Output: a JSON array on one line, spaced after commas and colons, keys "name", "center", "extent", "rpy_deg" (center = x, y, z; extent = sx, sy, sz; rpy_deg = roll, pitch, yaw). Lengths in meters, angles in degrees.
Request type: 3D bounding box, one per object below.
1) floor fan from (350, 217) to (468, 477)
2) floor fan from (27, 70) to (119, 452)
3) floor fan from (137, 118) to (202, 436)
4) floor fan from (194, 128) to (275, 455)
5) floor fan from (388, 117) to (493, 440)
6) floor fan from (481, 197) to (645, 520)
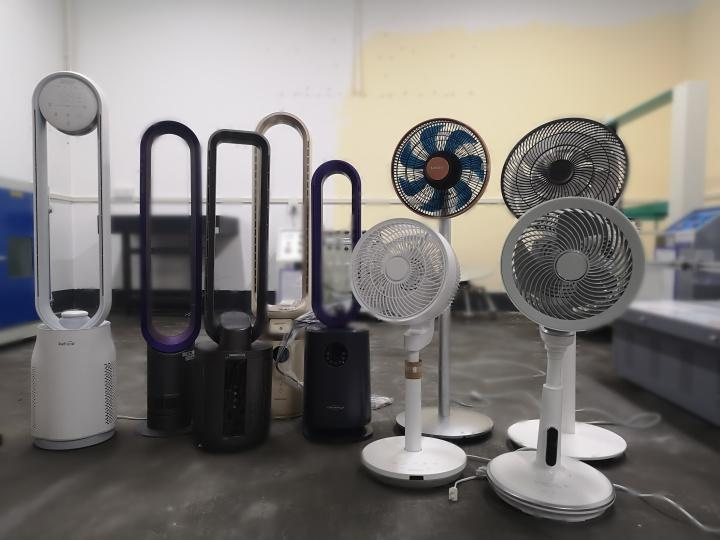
[{"name": "floor fan", "center": [0.243, 0.376, 3.085], "extent": [0.554, 1.238, 0.337], "rpy_deg": [-1, 5, -5]}, {"name": "floor fan", "center": [-1.487, -0.057, 3.311], "extent": [0.427, 1.891, 0.306], "rpy_deg": [-3, 5, -27]}, {"name": "floor fan", "center": [-0.989, 0.034, 3.406], "extent": [0.332, 1.629, 0.162], "rpy_deg": [-2, 5, -19]}, {"name": "floor fan", "center": [-0.651, 0.097, 3.270], "extent": [0.417, 1.603, 0.250], "rpy_deg": [-2, 5, -12]}, {"name": "floor fan", "center": [0.496, 0.041, 3.546], "extent": [0.547, 1.646, 0.527], "rpy_deg": [5, 6, 28]}, {"name": "floor fan", "center": [0.891, 0.388, 2.884], "extent": [0.639, 1.405, 0.271], "rpy_deg": [0, 5, 12]}]
